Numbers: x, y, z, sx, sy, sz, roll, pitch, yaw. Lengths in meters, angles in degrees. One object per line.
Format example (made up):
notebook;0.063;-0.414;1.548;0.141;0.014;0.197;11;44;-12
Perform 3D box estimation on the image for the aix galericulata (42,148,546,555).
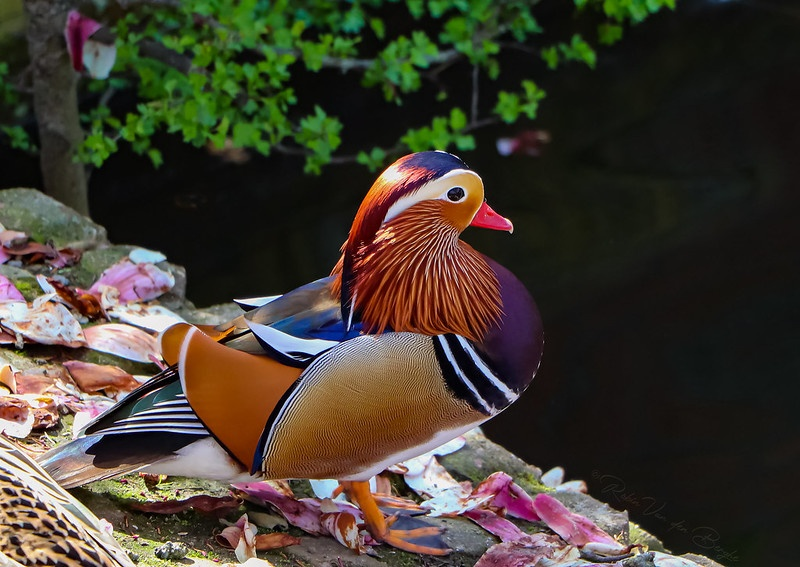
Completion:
aix galericulata;-0.320;0.202;2.331;1.318;0.829;0.494;-7;11;-4
